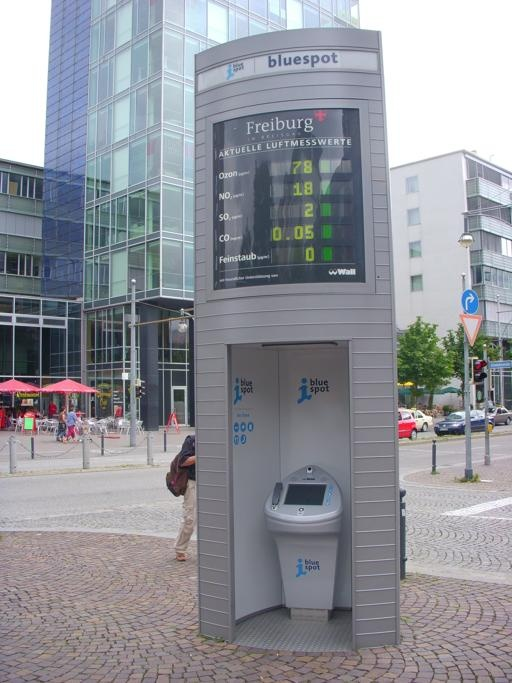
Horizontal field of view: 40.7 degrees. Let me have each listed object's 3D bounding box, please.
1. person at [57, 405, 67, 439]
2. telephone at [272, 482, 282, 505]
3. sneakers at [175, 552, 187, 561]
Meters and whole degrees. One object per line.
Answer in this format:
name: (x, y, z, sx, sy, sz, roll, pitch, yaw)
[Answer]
person: (-8.712, 3.767, 30.949, 0.365, 1.418, 0.961, -1, -3, -17)
telephone: (0.170, 1.209, 5.479, 0.046, 0.194, 0.046, 0, -45, 14)
sneakers: (-0.862, 2.482, 7.966, 0.064, 0.080, 0.186, 6, -17, -27)
